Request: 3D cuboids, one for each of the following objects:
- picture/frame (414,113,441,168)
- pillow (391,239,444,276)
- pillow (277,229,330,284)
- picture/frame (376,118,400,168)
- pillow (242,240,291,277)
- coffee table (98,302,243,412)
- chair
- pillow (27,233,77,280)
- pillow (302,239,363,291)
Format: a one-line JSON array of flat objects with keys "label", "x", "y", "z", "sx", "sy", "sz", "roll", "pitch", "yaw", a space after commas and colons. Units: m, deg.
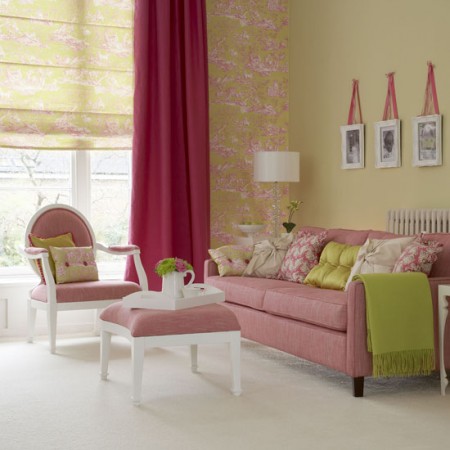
[{"label": "picture/frame", "x": 1.621, "y": -0.679, "z": 3.360, "sx": 0.096, "sy": 0.401, "sz": 0.270, "roll": -4, "pitch": 7, "yaw": -12}, {"label": "pillow", "x": 1.011, "y": 0.179, "z": 2.264, "sx": 0.220, "sy": 0.174, "sz": 0.196, "roll": -4, "pitch": 7, "yaw": -20}, {"label": "pillow", "x": 0.581, "y": 0.238, "z": 3.228, "sx": 0.134, "sy": 0.361, "sz": 0.414, "roll": 24, "pitch": 0, "yaw": -22}, {"label": "picture/frame", "x": 1.457, "y": -0.732, "z": 3.754, "sx": 0.092, "sy": 0.421, "sz": 0.305, "roll": -4, "pitch": 7, "yaw": -13}, {"label": "pillow", "x": 0.358, "y": 0.273, "z": 3.541, "sx": 0.329, "sy": 0.332, "sz": 0.121, "roll": -5, "pitch": -40, "yaw": 40}, {"label": "coffee table", "x": -0.295, "y": 0.587, "z": 2.229, "sx": 0.832, "sy": 0.371, "sz": 0.788, "roll": 5, "pitch": 3, "yaw": 9}, {"label": "chair", "x": -1.131, "y": 0.398, "z": 3.509, "sx": 1.009, "sy": 1.043, "sz": 0.864, "roll": -1, "pitch": 1, "yaw": -27}, {"label": "pillow", "x": -1.398, "y": 0.249, "z": 3.385, "sx": 0.397, "sy": 0.338, "sz": 0.188, "roll": 7, "pitch": -44, "yaw": -44}, {"label": "pillow", "x": 0.756, "y": 0.279, "z": 2.861, "sx": 0.093, "sy": 0.297, "sz": 0.338, "roll": 34, "pitch": -16, "yaw": -21}]
